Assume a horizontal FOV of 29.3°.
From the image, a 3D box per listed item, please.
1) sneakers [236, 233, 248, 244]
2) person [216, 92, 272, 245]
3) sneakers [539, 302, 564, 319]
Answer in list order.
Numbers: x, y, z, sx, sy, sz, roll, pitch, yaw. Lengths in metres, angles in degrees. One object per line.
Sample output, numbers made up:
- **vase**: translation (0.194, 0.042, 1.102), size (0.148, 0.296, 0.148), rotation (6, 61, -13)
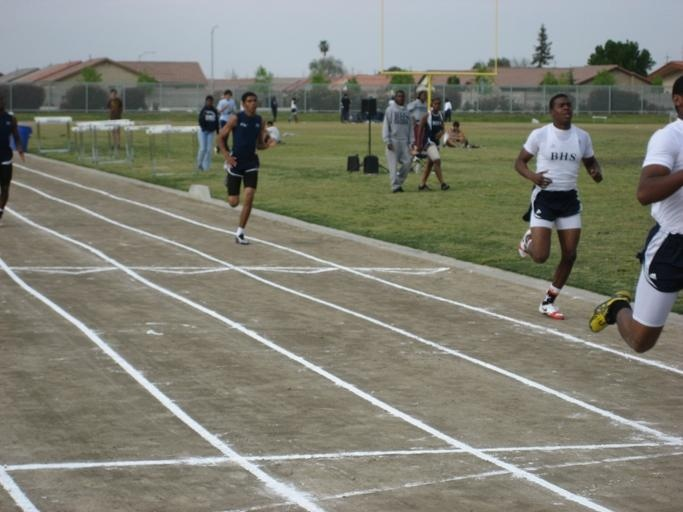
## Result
- **sneakers**: translation (-1.458, -0.257, 19.575), size (0.191, 0.156, 0.347), rotation (2, 9, -4)
- **person**: translation (-1.461, -1.338, 19.748), size (0.754, 2.217, 1.065), rotation (2, 10, -5)
- **sneakers**: translation (2.492, 0.661, 15.582), size (0.135, 0.127, 0.329), rotation (-11, 14, -34)
